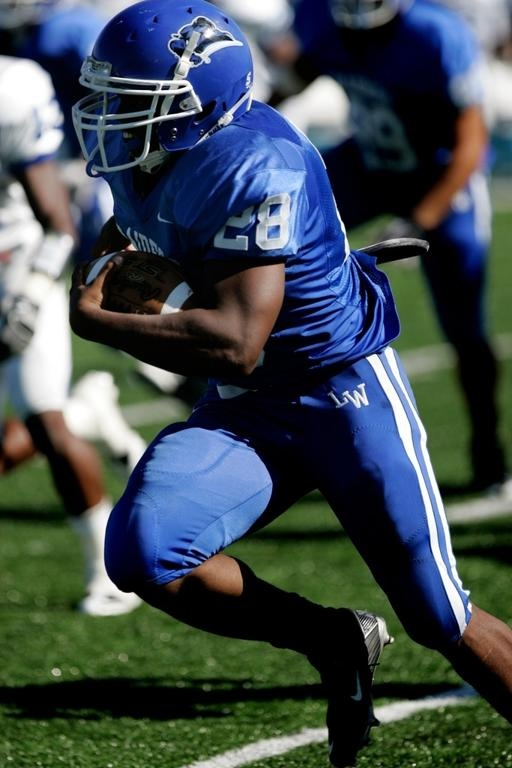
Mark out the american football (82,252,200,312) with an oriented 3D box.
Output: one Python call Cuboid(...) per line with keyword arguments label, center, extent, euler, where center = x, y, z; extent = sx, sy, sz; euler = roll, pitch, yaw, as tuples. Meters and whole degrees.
Cuboid(label="american football", center=(-0.189, -0.163, 1.337), extent=(0.195, 0.095, 0.093), euler=(8, 13, 39))
